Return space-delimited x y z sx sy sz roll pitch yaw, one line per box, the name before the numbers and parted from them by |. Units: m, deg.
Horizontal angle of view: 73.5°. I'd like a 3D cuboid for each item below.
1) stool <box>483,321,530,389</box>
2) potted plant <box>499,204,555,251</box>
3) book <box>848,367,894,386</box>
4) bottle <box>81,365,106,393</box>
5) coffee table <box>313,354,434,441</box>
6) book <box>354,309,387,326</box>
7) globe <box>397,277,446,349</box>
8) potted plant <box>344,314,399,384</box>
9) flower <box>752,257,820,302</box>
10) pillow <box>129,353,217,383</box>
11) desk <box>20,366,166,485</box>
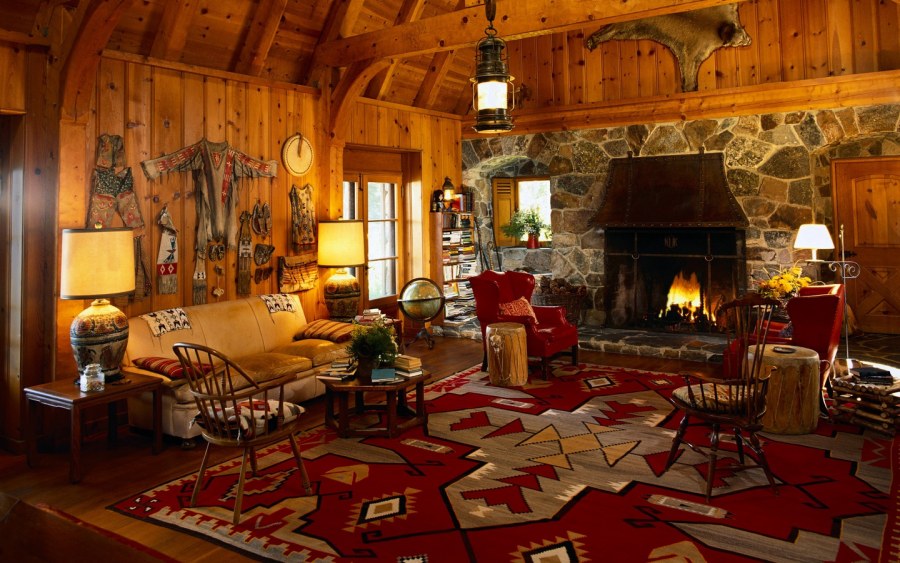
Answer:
stool | 0.667 0.868 7.064 0.741 0.870 0.664 -1 -2 5
potted plant | 1.374 -0.947 10.573 0.775 0.535 0.828 -1 5 -8
book | 4.200 0.943 5.955 0.230 0.053 0.220 8 11 41
bottle | -3.226 0.868 5.400 0.271 0.261 0.213 2 0 -17
coffee table | -0.769 1.248 6.185 0.971 0.392 0.895 -1 4 -1
book | -0.954 0.447 7.358 0.270 0.071 0.258 2 5 16
globe | -0.412 0.424 8.609 0.725 0.979 0.769 -2 -7 -36
potted plant | -0.814 0.689 6.198 0.643 0.600 0.582 -2 5 -25
flower | 4.235 -0.023 7.506 0.532 0.291 0.516 -24 16 -31
pillow | -2.784 0.821 5.801 0.504 0.135 0.458 11 3 36
desk | -3.264 1.151 5.736 0.960 0.896 1.219 2 4 23
